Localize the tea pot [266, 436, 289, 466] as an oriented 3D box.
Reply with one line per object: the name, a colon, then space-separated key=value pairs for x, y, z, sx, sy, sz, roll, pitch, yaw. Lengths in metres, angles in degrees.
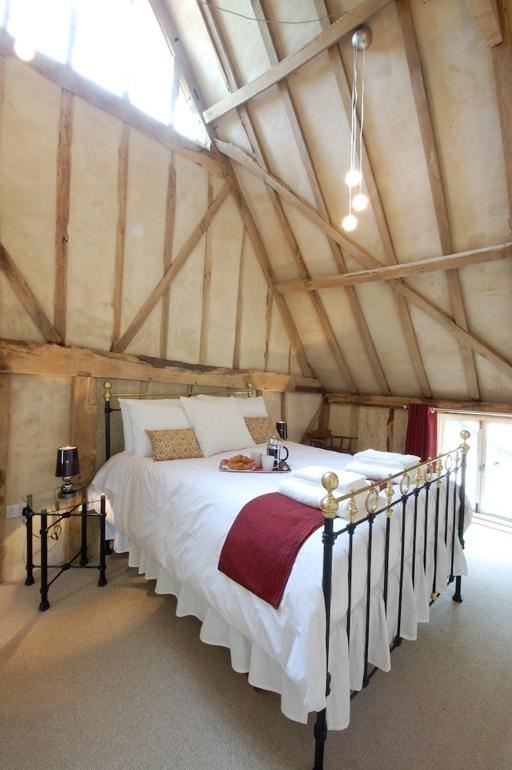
tea pot: x=0.147 y=0.408 z=3.325 sx=0.178 sy=0.196 sz=0.101 roll=5 pitch=6 yaw=34

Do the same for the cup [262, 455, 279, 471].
cup: x=0.100 y=0.446 z=3.088 sx=0.064 sy=0.078 sz=0.101 roll=-11 pitch=-19 yaw=36

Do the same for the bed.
bed: x=0.039 y=0.599 z=2.857 sx=1.241 sy=1.116 sz=1.712 roll=-4 pitch=7 yaw=-41

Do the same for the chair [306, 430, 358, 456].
chair: x=0.895 y=0.641 z=6.030 sx=0.343 sy=0.489 sz=0.326 roll=0 pitch=-7 yaw=-25

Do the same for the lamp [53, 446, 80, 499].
lamp: x=-1.181 y=0.513 z=3.298 sx=0.118 sy=0.338 sz=0.362 roll=-2 pitch=10 yaw=-21
